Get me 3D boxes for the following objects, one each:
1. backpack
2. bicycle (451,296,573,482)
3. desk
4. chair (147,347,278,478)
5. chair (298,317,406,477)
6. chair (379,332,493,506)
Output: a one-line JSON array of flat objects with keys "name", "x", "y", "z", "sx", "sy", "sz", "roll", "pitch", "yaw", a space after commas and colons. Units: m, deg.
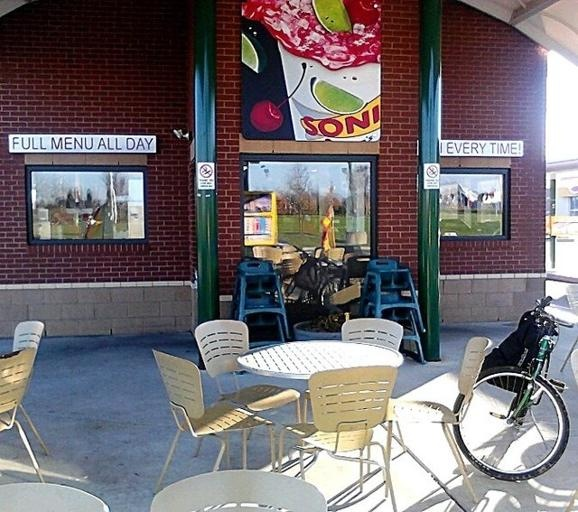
[{"name": "backpack", "x": 1.672, "y": 0.683, "z": 4.288, "sx": 0.360, "sy": 0.670, "sz": 0.410, "roll": 5, "pitch": 3, "yaw": 8}, {"name": "bicycle", "x": 1.783, "y": 1.172, "z": 4.480, "sx": 0.911, "sy": 1.596, "sz": 1.097, "roll": 5, "pitch": 4, "yaw": 16}, {"name": "desk", "x": 0.205, "y": 0.982, "z": 4.335, "sx": 0.990, "sy": 0.953, "sz": 0.991, "roll": 4, "pitch": 5, "yaw": -6}, {"name": "chair", "x": -0.580, "y": 1.228, "z": 4.401, "sx": 0.842, "sy": 1.348, "sz": 0.775, "roll": -2, "pitch": 6, "yaw": -29}, {"name": "chair", "x": 0.569, "y": 1.096, "z": 5.068, "sx": 0.624, "sy": 1.066, "sz": 0.670, "roll": 2, "pitch": 6, "yaw": -16}, {"name": "chair", "x": 0.903, "y": 1.086, "z": 4.486, "sx": 0.932, "sy": 1.545, "sz": 0.871, "roll": 2, "pitch": 0, "yaw": 2}]
